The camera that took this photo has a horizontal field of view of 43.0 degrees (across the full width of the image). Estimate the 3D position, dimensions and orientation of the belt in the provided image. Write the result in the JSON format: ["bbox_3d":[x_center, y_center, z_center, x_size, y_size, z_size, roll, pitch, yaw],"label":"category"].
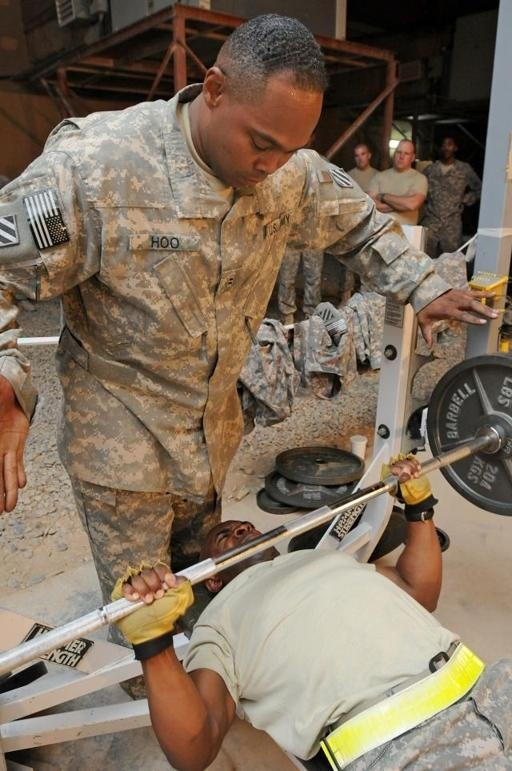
[{"bbox_3d":[0.298,0.655,1.334,0.278,0.078,0.243,-26,-12,-5],"label":"belt"}]
